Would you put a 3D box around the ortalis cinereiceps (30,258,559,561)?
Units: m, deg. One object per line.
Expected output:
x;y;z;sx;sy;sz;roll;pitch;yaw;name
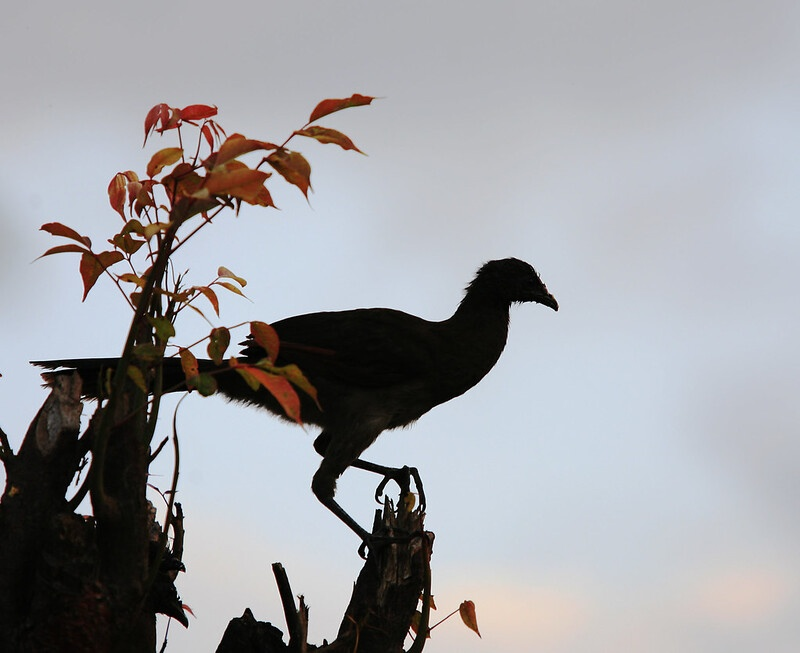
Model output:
-0.215;0.162;3.974;1.286;0.865;0.461;5;0;-13;ortalis cinereiceps
